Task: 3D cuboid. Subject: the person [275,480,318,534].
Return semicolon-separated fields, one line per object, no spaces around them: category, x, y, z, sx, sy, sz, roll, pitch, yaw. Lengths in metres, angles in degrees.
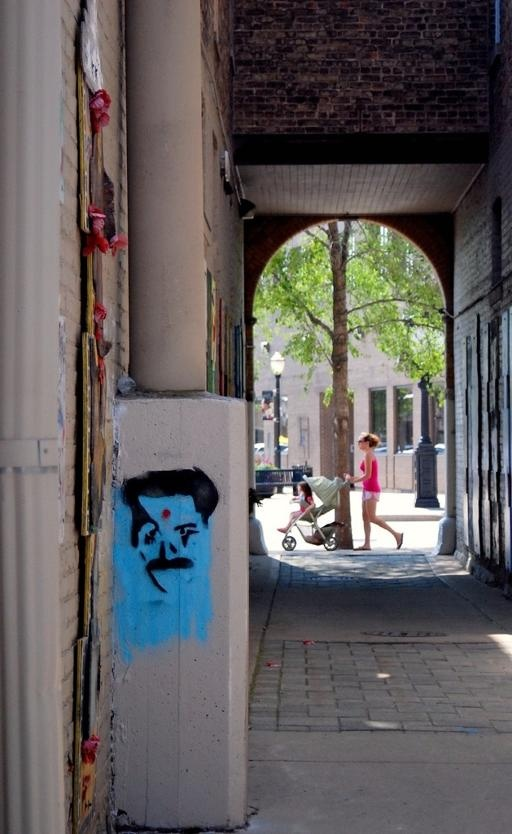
person;0.603;1.287;13.507;0.567;1.411;0.555;0;-2;7

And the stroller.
stroller;0.827;1.334;13.160;0.917;1.573;0.813;0;-2;4
